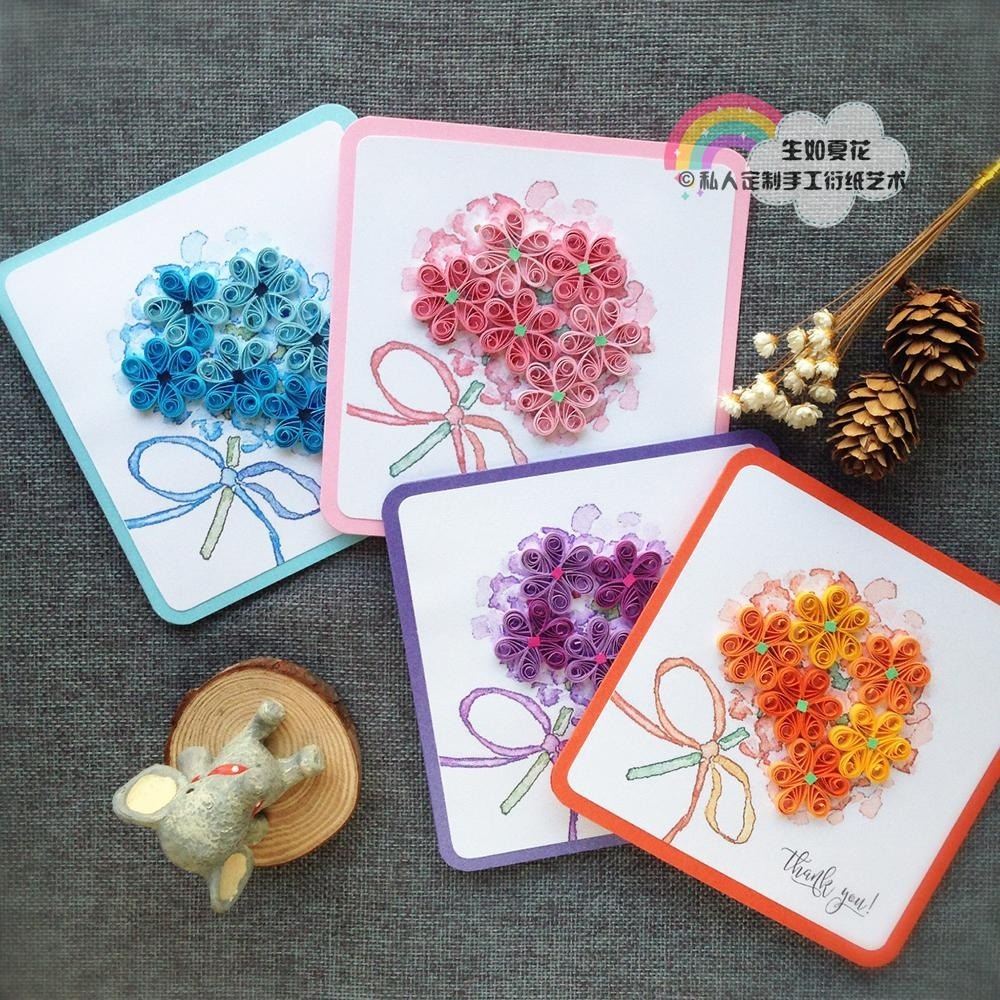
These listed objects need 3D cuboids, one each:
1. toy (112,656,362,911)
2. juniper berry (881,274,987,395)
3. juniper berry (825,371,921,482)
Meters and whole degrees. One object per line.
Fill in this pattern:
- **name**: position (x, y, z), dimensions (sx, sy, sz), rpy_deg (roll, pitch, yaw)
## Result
- **toy**: position (-0.295, 0.335, 1.367), dimensions (0.270, 0.186, 0.241), rpy_deg (-37, 67, -17)
- **juniper berry**: position (0.491, -0.188, 1.306), dimensions (0.108, 0.094, 0.147), rpy_deg (1, 31, 1)
- **juniper berry**: position (0.451, -0.086, 1.387), dimensions (0.116, 0.094, 0.135), rpy_deg (9, 72, 39)
